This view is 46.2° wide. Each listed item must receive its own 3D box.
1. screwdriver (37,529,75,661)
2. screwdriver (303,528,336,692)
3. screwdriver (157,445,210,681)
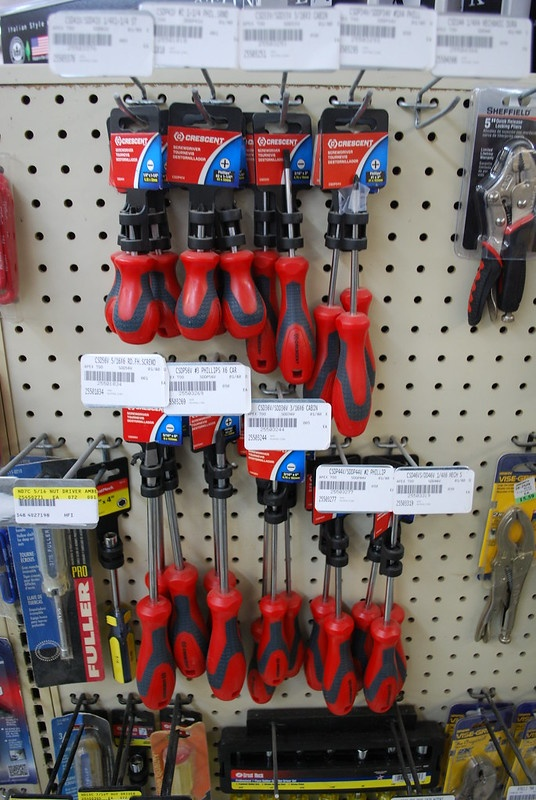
[{"bbox_3d":[-0.324,0.307,1.003,0.039,0.220,0.041,-7,6,-3],"label":"screwdriver"},{"bbox_3d":[0.104,0.352,1.037,0.045,0.291,0.048,-1,14,14],"label":"screwdriver"},{"bbox_3d":[-0.137,0.247,1.013,0.060,0.403,0.065,9,12,42],"label":"screwdriver"}]
